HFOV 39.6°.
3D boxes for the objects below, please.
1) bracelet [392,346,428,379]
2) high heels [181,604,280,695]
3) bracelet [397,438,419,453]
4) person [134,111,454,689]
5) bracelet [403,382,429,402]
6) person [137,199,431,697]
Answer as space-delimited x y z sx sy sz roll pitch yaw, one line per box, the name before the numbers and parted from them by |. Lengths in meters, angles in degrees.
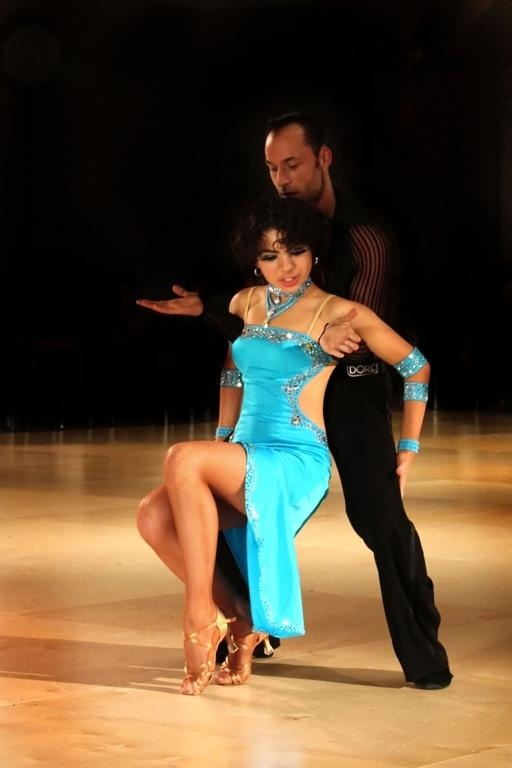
bracelet | 0.476 -0.068 2.190 0.082 0.052 0.103 -35 -10 4
high heels | -0.066 0.760 2.012 0.135 0.150 0.379 -2 -10 13
bracelet | 0.468 0.190 2.197 0.050 0.032 0.052 15 -11 -43
person | 0.197 0.125 2.298 0.919 1.862 0.631 13 28 29
bracelet | 0.484 0.023 2.174 0.070 0.044 0.065 3 1 -21
person | 0.015 0.180 2.200 0.796 1.522 0.662 -3 6 -39
